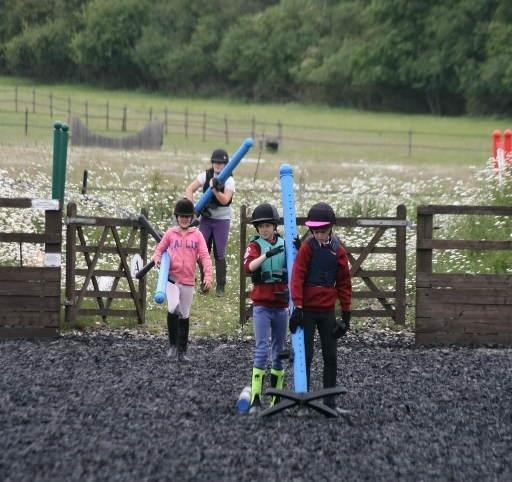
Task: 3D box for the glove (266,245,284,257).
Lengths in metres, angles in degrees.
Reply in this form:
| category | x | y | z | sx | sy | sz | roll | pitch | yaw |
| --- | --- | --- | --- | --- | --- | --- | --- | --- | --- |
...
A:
| category | x | y | z | sx | sy | sz | roll | pitch | yaw |
| --- | --- | --- | --- | --- | --- | --- | --- | --- | --- |
| glove | 0.370 | 0.205 | 22.766 | 0.365 | 0.214 | 0.199 | -1 | 9 | -2 |

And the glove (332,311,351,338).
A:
| category | x | y | z | sx | sy | sz | roll | pitch | yaw |
| --- | --- | --- | --- | --- | --- | --- | --- | --- | --- |
| glove | 1.714 | 1.657 | 22.645 | 0.305 | 0.481 | 0.173 | 12 | -14 | 36 |

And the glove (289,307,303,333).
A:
| category | x | y | z | sx | sy | sz | roll | pitch | yaw |
| --- | --- | --- | --- | --- | --- | --- | --- | --- | --- |
| glove | 0.785 | 1.515 | 22.494 | 0.311 | 0.481 | 0.146 | -4 | 9 | -20 |

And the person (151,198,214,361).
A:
| category | x | y | z | sx | sy | sz | roll | pitch | yaw |
| --- | --- | --- | --- | --- | --- | --- | --- | --- | --- |
| person | -1.487 | 0.804 | 24.130 | 1.086 | 3.353 | 0.476 | -1 | 8 | -4 |

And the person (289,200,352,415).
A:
| category | x | y | z | sx | sy | sz | roll | pitch | yaw |
| --- | --- | --- | --- | --- | --- | --- | --- | --- | --- |
| person | 1.249 | 1.040 | 22.584 | 1.185 | 3.514 | 0.578 | -1 | 8 | -2 |

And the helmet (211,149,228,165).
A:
| category | x | y | z | sx | sy | sz | roll | pitch | yaw |
| --- | --- | --- | --- | --- | --- | --- | --- | --- | --- |
| helmet | -0.782 | -1.863 | 26.049 | 0.239 | 0.316 | 0.345 | 3 | 0 | 0 |
